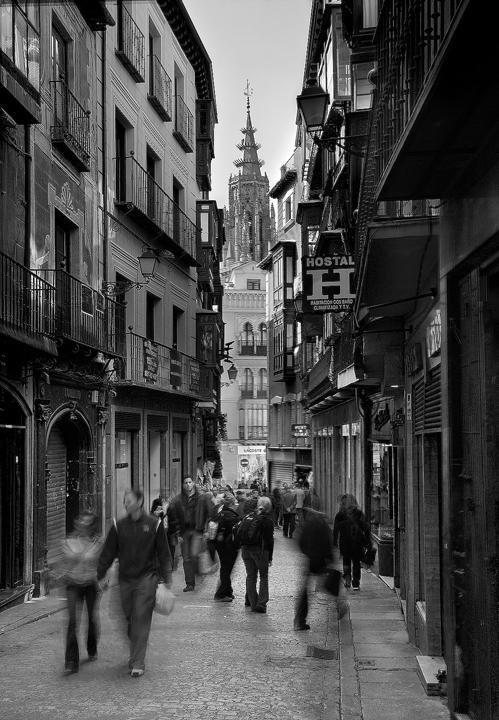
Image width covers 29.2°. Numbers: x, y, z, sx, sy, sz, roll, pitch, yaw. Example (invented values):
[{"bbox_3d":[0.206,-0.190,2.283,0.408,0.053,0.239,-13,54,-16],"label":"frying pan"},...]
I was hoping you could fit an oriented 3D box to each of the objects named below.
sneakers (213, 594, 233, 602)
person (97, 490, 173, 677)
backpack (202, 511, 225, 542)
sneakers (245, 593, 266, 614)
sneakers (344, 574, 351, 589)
[{"bbox_3d":[-0.350,3.236,13.096,0.223,0.178,0.114,1,-5,-3],"label":"sneakers"},{"bbox_3d":[-1.064,1.973,8.705,0.647,1.575,0.667,-1,-3,31],"label":"person"},{"bbox_3d":[-0.528,2.425,13.987,0.187,0.333,0.393,30,9,-2],"label":"backpack"},{"bbox_3d":[0.051,3.138,12.302,0.119,0.381,0.366,7,-17,-40],"label":"sneakers"},{"bbox_3d":[1.547,3.516,15.229,0.109,0.286,0.115,3,4,38],"label":"sneakers"}]
